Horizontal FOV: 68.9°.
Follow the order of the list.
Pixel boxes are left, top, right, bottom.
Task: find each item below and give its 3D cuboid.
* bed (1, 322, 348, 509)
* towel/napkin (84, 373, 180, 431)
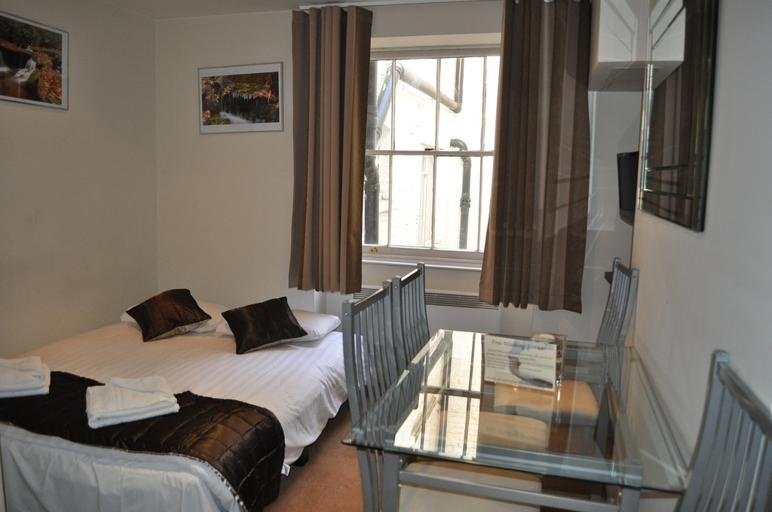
[{"bbox_3d":[-1.231,0.996,3.478,1.193,0.328,1.266,0,10,-2],"label":"bed"},{"bbox_3d":[-1.506,0.845,3.302,0.309,0.109,0.331,-1,9,-28],"label":"towel/napkin"}]
